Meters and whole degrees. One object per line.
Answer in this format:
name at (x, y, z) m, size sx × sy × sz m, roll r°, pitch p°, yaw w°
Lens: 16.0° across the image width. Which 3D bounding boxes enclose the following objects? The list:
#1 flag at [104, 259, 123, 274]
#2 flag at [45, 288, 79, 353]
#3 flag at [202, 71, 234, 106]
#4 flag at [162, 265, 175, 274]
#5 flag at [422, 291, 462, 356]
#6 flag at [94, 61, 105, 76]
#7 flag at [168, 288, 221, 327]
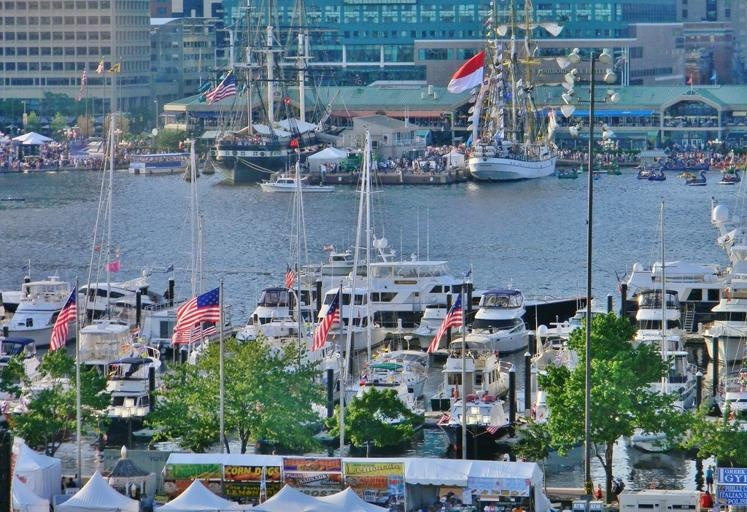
flag at (-24.480, 1.293, 252.253) m, size 1.282 × 1.267 × 0.146 m, roll 12°, pitch 19°, yaw 30°
flag at (-25.992, 5.541, 226.555) m, size 1.834 × 5.869 × 0.751 m, roll -1°, pitch -22°, yaw 32°
flag at (-17.473, -18.922, 309.790) m, size 3.136 × 2.816 × 4.890 m, roll -2°, pitch 11°, yaw 1°
flag at (-19.756, 1.667, 259.848) m, size 1.117 × 1.563 × 0.118 m, roll 6°, pitch 53°, yaw -9°
flag at (6.665, 6.039, 231.536) m, size 2.596 × 5.844 × 2.473 m, roll -4°, pitch 1°, yaw 15°
flag at (-38.414, -26.152, 377.168) m, size 1.250 × 3.604 × 1.276 m, roll -5°, pitch 34°, yaw -21°
flag at (-14.160, 5.251, 228.628) m, size 2.960 × 4.112 × 4.444 m, roll -7°, pitch 4°, yaw -17°
